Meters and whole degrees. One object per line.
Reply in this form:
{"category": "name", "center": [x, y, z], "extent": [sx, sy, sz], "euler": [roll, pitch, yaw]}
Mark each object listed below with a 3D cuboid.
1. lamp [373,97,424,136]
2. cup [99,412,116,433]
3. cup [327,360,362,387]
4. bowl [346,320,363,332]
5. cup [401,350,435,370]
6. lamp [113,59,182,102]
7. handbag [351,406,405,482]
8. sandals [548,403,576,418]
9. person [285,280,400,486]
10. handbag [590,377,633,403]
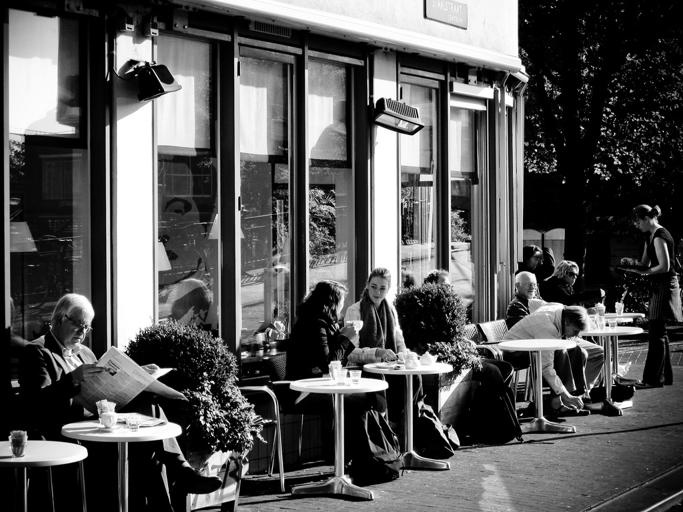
{"category": "lamp", "center": [0.686, -1.738, 10.137], "extent": [0.662, 0.429, 0.384], "euler": [-1, -1, -40]}
{"category": "cup", "center": [-1.597, 1.143, 5.618], "extent": [0.102, 0.107, 0.105], "euler": [0, 1, 0]}
{"category": "cup", "center": [0.007, 1.085, 7.495], "extent": [0.246, 0.199, 0.166], "euler": [-3, -5, 37]}
{"category": "bowl", "center": [0.135, 0.706, 8.307], "extent": [0.113, 0.110, 0.136], "euler": [-1, -4, -17]}
{"category": "cup", "center": [0.754, 1.035, 8.141], "extent": [0.288, 0.147, 0.168], "euler": [3, -4, -26]}
{"category": "lamp", "center": [-1.776, -1.634, 7.573], "extent": [0.569, 0.400, 0.335], "euler": [-2, -1, -2]}
{"category": "handbag", "center": [0.374, 1.870, 8.030], "extent": [0.342, 0.706, 0.520], "euler": [-14, -18, 26]}
{"category": "sandals", "center": [2.811, 2.007, 10.549], "extent": [0.270, 0.134, 0.221], "euler": [1, -3, 6]}
{"category": "person", "center": [0.017, 1.217, 8.124], "extent": [0.986, 1.930, 0.726], "euler": [0, 7, 15]}
{"category": "handbag", "center": [3.685, 1.859, 11.071], "extent": [0.705, 0.361, 0.263], "euler": [-8, 3, 15]}
